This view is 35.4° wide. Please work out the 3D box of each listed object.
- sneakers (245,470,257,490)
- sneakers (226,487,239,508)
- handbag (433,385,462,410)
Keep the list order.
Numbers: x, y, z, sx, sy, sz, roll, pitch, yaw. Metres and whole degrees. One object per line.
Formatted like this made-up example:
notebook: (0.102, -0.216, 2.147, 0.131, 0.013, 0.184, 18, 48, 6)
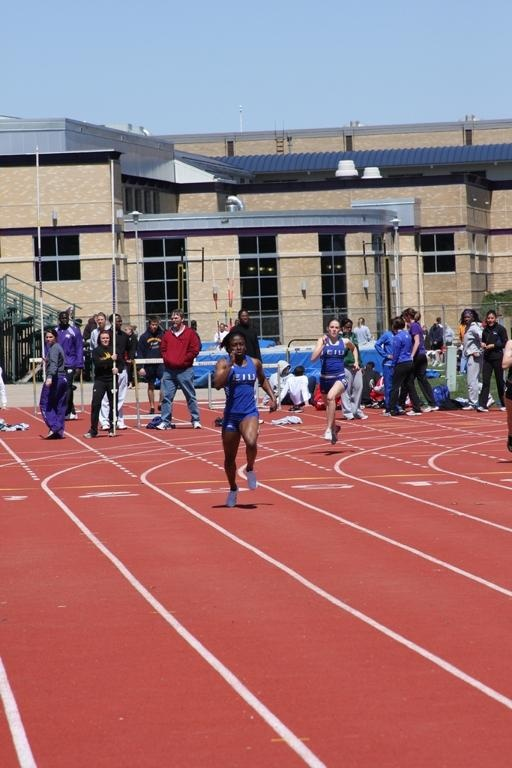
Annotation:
sneakers: (-0.043, 1.170, 9.718, 0.109, 0.313, 0.124, -7, 1, -1)
sneakers: (-0.278, 1.370, 9.698, 0.107, 0.239, 0.104, 8, 2, 21)
handbag: (5.134, 0.448, 21.787, 0.608, 0.746, 0.270, -5, -7, -28)
